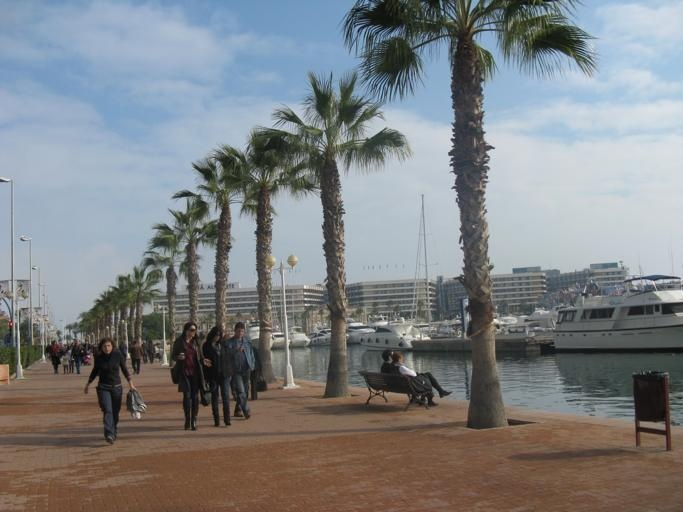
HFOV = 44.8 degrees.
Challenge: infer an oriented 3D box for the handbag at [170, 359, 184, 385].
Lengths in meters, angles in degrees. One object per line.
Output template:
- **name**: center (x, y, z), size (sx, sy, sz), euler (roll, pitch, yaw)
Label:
- **handbag**: center (-3.599, 2.558, 18.010), size (0.238, 0.617, 0.433), euler (5, 7, -10)

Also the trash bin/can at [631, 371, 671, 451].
- **trash bin/can**: center (5.538, 2.747, 14.817), size (0.607, 1.396, 0.763), euler (-5, -6, 18)

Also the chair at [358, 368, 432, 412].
- **chair**: center (1.286, 3.372, 21.141), size (1.247, 0.886, 2.525), euler (-1, -6, -21)
